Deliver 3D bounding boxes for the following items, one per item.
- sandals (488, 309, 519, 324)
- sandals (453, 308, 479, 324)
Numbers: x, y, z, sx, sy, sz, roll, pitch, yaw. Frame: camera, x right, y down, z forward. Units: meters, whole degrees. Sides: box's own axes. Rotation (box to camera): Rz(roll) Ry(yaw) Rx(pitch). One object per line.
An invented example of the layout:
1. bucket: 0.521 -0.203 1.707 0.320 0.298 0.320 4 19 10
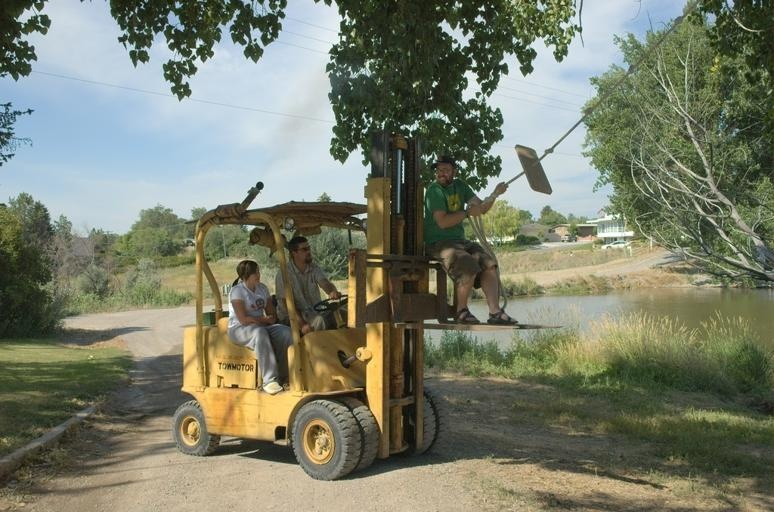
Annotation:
1. sandals: 1.953 1.031 12.422 0.422 0.206 0.238 -3 -2 26
2. sandals: 1.413 1.052 12.906 0.192 0.180 0.416 1 -4 -30
